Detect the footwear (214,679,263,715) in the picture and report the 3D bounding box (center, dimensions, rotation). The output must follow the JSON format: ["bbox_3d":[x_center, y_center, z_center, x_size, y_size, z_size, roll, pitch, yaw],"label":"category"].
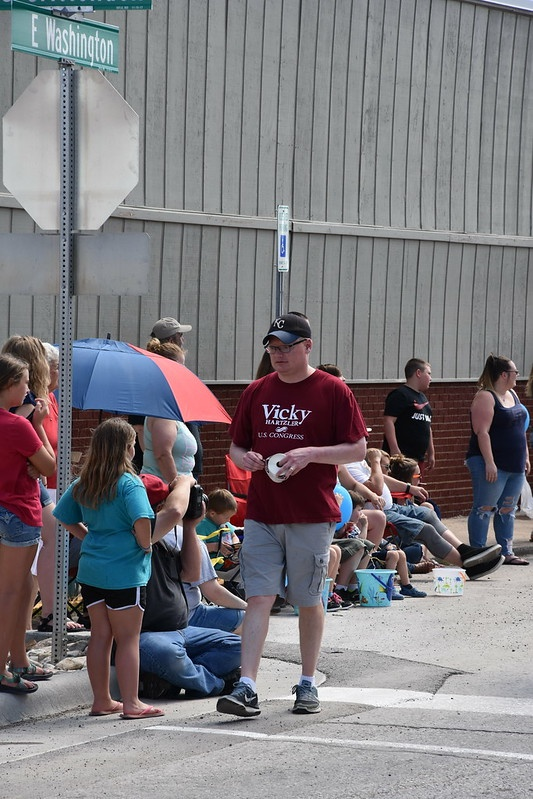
[{"bbox_3d":[-0.118,1.308,5.686,0.100,0.129,0.218,-5,-22,35],"label":"footwear"}]

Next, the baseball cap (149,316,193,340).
[{"bbox_3d":[-0.654,-0.442,9.027,0.261,0.153,0.175,-14,22,-21],"label":"baseball cap"}]

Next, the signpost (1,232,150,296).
[{"bbox_3d":[-0.992,-0.706,6.666,0.809,0.324,0.195,1,-1,9],"label":"signpost"}]

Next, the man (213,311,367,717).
[{"bbox_3d":[0.126,0.535,6.040,0.585,1.858,0.585,3,-10,-4],"label":"man"}]

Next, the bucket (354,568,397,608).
[{"bbox_3d":[0.800,1.343,9.291,0.238,0.200,0.241,0,-4,0],"label":"bucket"}]

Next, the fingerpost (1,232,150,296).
[{"bbox_3d":[-0.992,-0.706,6.666,0.809,0.324,0.195,1,-1,9],"label":"fingerpost"}]

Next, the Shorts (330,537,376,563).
[{"bbox_3d":[0.624,1.063,9.200,0.239,0.159,0.080,-6,-28,-9],"label":"Shorts"}]

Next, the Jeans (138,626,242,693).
[{"bbox_3d":[-0.380,1.272,6.400,0.346,0.163,0.378,5,-1,14],"label":"Jeans"}]

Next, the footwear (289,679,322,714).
[{"bbox_3d":[0.180,1.366,5.934,0.118,0.125,0.268,-1,-10,6],"label":"footwear"}]

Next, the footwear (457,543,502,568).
[{"bbox_3d":[1.744,1.279,10.582,0.266,0.196,0.116,-23,-44,-4],"label":"footwear"}]

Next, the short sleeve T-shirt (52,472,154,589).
[{"bbox_3d":[-0.748,0.601,5.999,0.548,0.640,0.287,0,-3,26],"label":"short sleeve T-shirt"}]

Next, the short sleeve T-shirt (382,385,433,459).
[{"bbox_3d":[1.323,0.227,12.104,0.426,0.870,0.696,0,1,36],"label":"short sleeve T-shirt"}]

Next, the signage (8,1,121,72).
[{"bbox_3d":[-1.021,-1.857,6.656,0.115,0.281,0.786,0,-1,36],"label":"signage"}]

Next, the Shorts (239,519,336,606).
[{"bbox_3d":[0.112,0.751,6.086,0.424,0.662,0.352,1,-9,16],"label":"Shorts"}]

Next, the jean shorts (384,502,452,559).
[{"bbox_3d":[1.236,0.994,10.433,0.626,0.250,0.320,26,-43,-13],"label":"jean shorts"}]

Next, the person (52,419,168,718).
[{"bbox_3d":[-0.729,0.782,6.050,0.477,1.355,0.464,1,0,18],"label":"person"}]

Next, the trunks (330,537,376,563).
[{"bbox_3d":[0.617,1.064,9.198,0.239,0.159,0.080,-6,-28,-9],"label":"trunks"}]

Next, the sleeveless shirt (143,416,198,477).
[{"bbox_3d":[-0.562,0.263,7.592,0.266,0.566,0.479,1,3,6],"label":"sleeveless shirt"}]

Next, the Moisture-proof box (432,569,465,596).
[{"bbox_3d":[1.379,1.373,9.726,0.220,0.206,0.259,1,-1,8],"label":"Moisture-proof box"}]

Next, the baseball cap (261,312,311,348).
[{"bbox_3d":[0.112,-0.332,6.163,0.133,0.130,0.200,-5,-5,35],"label":"baseball cap"}]
